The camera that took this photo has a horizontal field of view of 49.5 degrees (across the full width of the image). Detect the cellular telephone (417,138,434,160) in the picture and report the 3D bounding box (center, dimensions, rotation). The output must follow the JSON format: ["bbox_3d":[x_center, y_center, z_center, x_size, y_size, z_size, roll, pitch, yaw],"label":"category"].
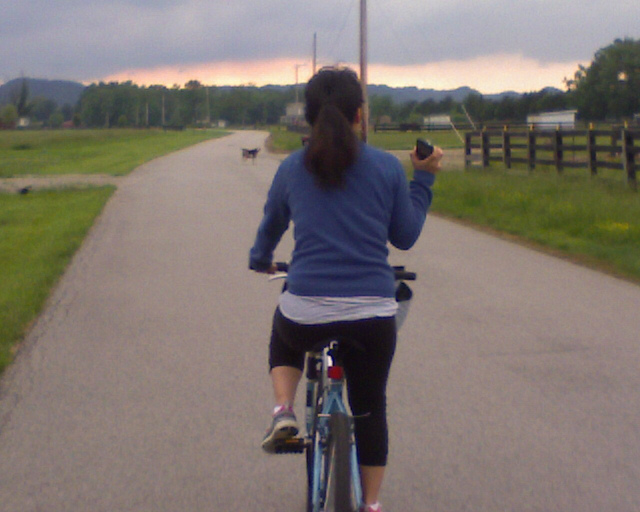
[{"bbox_3d":[0.733,-0.724,4.790,0.103,0.137,0.200,9,17,39],"label":"cellular telephone"}]

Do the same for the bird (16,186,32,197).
[{"bbox_3d":[-9.330,-2.024,22.090,0.433,0.427,0.309,2,1,24],"label":"bird"}]

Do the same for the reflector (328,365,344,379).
[{"bbox_3d":[0.112,0.753,4.470,0.070,0.086,0.028,-3,4,-16],"label":"reflector"}]

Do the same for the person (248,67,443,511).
[{"bbox_3d":[0.170,0.222,4.684,1.157,2.838,0.613,-2,9,-9],"label":"person"}]
